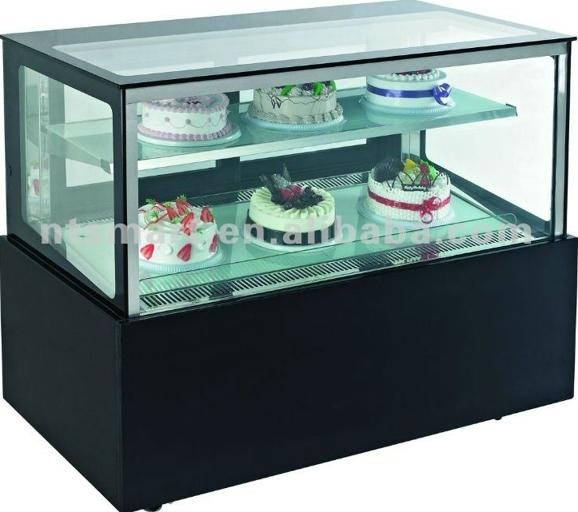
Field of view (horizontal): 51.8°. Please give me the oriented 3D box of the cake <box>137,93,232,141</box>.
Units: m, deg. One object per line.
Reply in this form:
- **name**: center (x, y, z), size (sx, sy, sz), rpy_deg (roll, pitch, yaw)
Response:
- **cake**: center (-0.315, -0.428, 1.839), size (0.297, 0.146, 0.215), rpy_deg (-9, 13, -20)

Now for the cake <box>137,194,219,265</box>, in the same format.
- **cake**: center (-0.368, -0.080, 1.892), size (0.234, 0.128, 0.224), rpy_deg (16, 27, 30)

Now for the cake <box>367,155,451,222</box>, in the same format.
- **cake**: center (0.462, -0.287, 2.369), size (0.297, 0.193, 0.287), rpy_deg (-1, 15, -3)

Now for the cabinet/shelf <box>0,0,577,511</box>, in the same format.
- **cabinet/shelf**: center (-0.030, -0.035, 1.926), size (1.655, 1.006, 0.842), rpy_deg (-11, 26, -24)
